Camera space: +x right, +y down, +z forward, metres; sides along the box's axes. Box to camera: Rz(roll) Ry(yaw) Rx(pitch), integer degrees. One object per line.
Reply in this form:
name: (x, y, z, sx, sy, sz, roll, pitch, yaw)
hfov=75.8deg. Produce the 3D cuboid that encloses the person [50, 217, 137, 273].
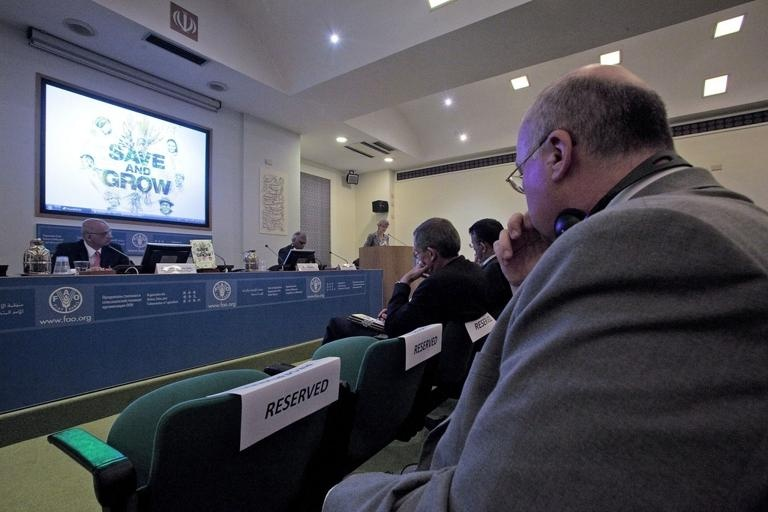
person: (-2.886, -0.118, 4.852, 0.262, 0.814, 0.475, -6, 2, 26)

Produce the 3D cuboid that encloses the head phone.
head phone: (0.971, -0.260, 2.091, 0.356, 0.164, 0.451, -31, -17, -46)

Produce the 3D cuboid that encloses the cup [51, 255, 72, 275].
cup: (-2.535, 0.070, 3.897, 0.112, 0.118, 0.113, 7, -5, 1)

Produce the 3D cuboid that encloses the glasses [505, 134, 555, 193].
glasses: (0.640, -0.403, 2.254, 0.061, 0.215, 0.205, 22, 25, 20)

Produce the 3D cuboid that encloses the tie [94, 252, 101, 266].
tie: (-2.831, 0.029, 4.895, 0.091, 0.130, 0.045, -6, -1, -16)

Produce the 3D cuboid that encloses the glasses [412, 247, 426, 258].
glasses: (0.255, -0.027, 3.498, 0.078, 0.086, 0.025, 2, -4, -3)

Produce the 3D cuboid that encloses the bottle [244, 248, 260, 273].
bottle: (-1.309, 0.045, 4.929, 0.147, 0.168, 0.372, -1, 4, -15)

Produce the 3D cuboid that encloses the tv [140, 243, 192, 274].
tv: (-1.750, 0.026, 4.002, 0.094, 0.236, 0.246, 17, 13, 41)

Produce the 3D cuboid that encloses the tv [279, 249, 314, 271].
tv: (-0.922, 0.032, 5.121, 0.315, 0.225, 0.102, 8, 8, -45)

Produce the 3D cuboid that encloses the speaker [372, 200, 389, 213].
speaker: (-0.060, -0.995, 10.002, 0.369, 0.260, 0.221, -1, -5, -9)

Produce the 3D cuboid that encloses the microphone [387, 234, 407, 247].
microphone: (0.273, -0.320, 9.770, 0.020, 0.307, 0.304, 9, 19, -34)
